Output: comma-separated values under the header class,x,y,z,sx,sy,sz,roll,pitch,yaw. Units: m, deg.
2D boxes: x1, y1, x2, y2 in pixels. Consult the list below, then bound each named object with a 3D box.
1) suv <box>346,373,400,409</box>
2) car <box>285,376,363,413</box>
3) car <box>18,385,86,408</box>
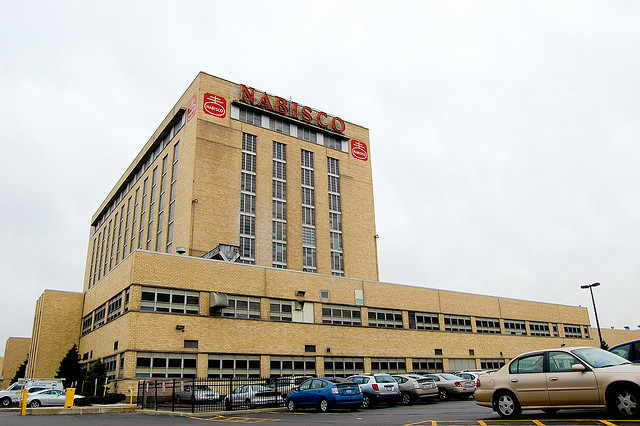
class,x,y,z,sx,sy,sz,roll,pitch,yaw
suv,3.387,11.586,32.452,1.935,1.358,3.358,15,-20,-42
car,0.319,10.991,30.323,3.870,1.390,2.217,-15,-28,36
car,-20.489,13.938,37.511,2.461,1.296,0.922,11,-29,-24
